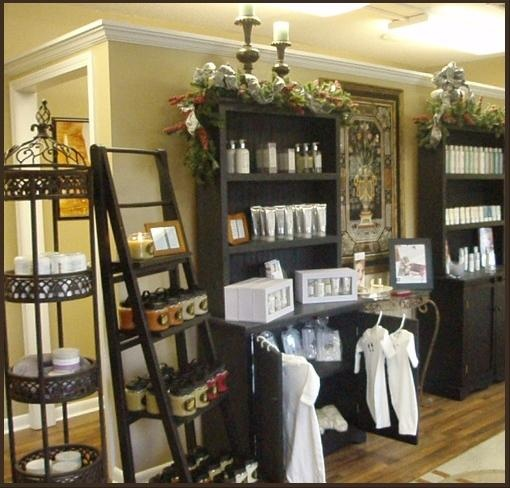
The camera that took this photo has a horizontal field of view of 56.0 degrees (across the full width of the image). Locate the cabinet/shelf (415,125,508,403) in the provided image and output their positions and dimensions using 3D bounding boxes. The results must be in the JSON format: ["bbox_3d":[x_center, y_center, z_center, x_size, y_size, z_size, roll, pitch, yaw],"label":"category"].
[{"bbox_3d":[1.858,0.126,4.244,1.211,2.267,0.494,-6,3,-28],"label":"cabinet/shelf"}]

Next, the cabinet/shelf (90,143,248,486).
[{"bbox_3d":[-0.477,0.333,2.382,0.520,1.403,0.602,-3,3,38],"label":"cabinet/shelf"}]
